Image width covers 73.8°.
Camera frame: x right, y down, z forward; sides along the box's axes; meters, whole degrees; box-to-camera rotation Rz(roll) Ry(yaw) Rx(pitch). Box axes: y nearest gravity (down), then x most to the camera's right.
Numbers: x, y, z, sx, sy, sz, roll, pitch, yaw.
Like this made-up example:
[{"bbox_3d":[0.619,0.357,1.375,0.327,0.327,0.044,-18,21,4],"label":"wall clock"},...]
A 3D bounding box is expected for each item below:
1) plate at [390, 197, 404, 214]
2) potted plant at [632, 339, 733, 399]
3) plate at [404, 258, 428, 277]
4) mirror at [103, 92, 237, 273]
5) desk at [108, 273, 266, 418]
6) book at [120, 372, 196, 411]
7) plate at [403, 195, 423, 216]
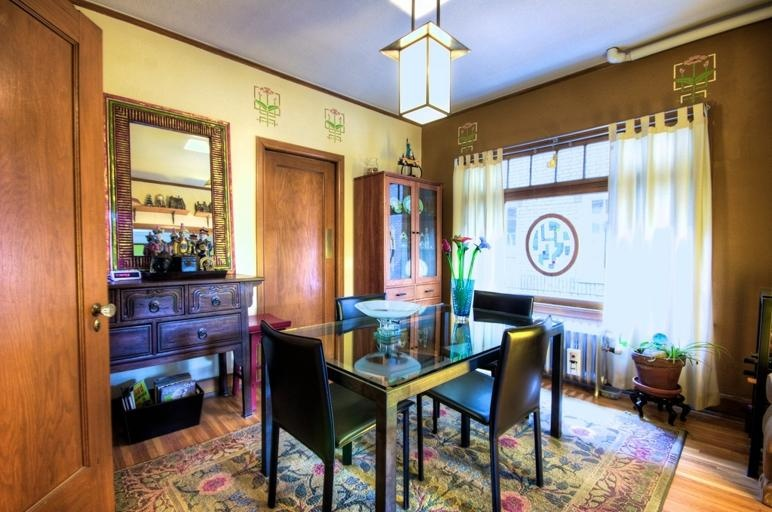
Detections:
[{"bbox_3d":[0.108,-0.524,5.361,0.013,0.149,0.198,2,2,41],"label":"plate"},{"bbox_3d":[2.341,0.878,4.266,0.481,0.336,0.489,-3,-7,42],"label":"potted plant"},{"bbox_3d":[0.333,0.130,5.612,0.198,0.199,0.046,29,-15,-39],"label":"plate"},{"bbox_3d":[-1.839,-0.618,4.400,0.949,1.413,0.110,-1,2,-30],"label":"mirror"},{"bbox_3d":[-1.617,0.707,4.090,1.160,1.032,0.441,-2,2,-43],"label":"desk"},{"bbox_3d":[-1.811,1.081,4.116,0.269,0.116,0.369,3,5,42],"label":"book"},{"bbox_3d":[0.253,-0.535,5.425,0.191,0.196,0.043,-8,10,-32],"label":"plate"}]
